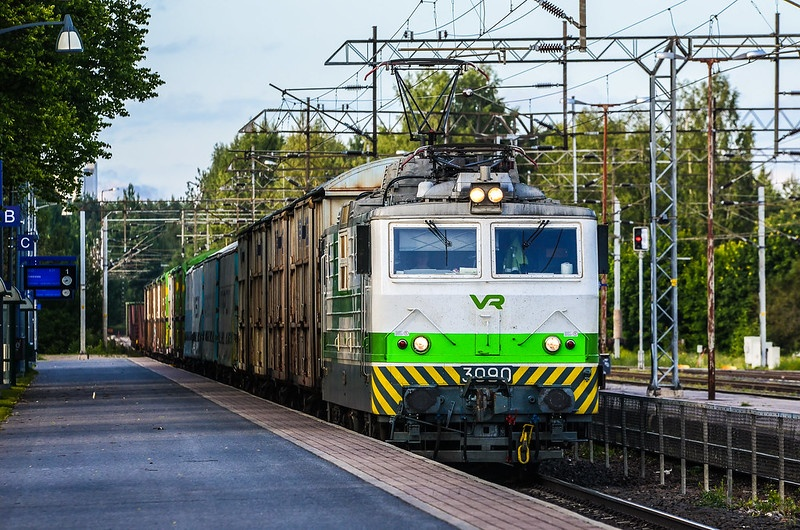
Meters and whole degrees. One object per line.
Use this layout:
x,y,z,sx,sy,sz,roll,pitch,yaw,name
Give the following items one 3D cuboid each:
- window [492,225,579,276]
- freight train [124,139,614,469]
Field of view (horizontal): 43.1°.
2.536,-0.329,19.898,2.182,1.399,0.109,0,11,43,window
-1.367,1.284,31.649,4.933,6.660,25.627,1,-3,-14,freight train
